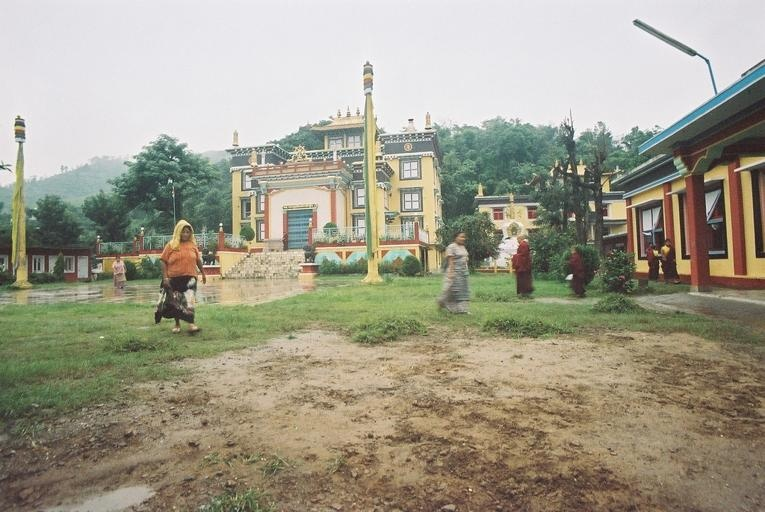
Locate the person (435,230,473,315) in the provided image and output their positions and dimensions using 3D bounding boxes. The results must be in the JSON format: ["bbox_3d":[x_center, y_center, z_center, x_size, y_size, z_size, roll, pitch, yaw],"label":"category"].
[{"bbox_3d":[1.502,0.353,11.815,0.536,1.610,0.778,-2,3,-25],"label":"person"}]

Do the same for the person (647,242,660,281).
[{"bbox_3d":[8.508,0.216,18.005,0.330,1.140,1.030,1,3,25],"label":"person"}]

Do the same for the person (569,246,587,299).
[{"bbox_3d":[5.013,0.456,14.764,0.384,1.195,0.569,0,2,15],"label":"person"}]

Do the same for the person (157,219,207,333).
[{"bbox_3d":[-3.580,0.368,10.043,0.785,1.929,0.582,-2,3,-23],"label":"person"}]

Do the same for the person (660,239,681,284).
[{"bbox_3d":[8.527,0.157,17.001,0.497,1.270,0.509,1,3,29],"label":"person"}]
